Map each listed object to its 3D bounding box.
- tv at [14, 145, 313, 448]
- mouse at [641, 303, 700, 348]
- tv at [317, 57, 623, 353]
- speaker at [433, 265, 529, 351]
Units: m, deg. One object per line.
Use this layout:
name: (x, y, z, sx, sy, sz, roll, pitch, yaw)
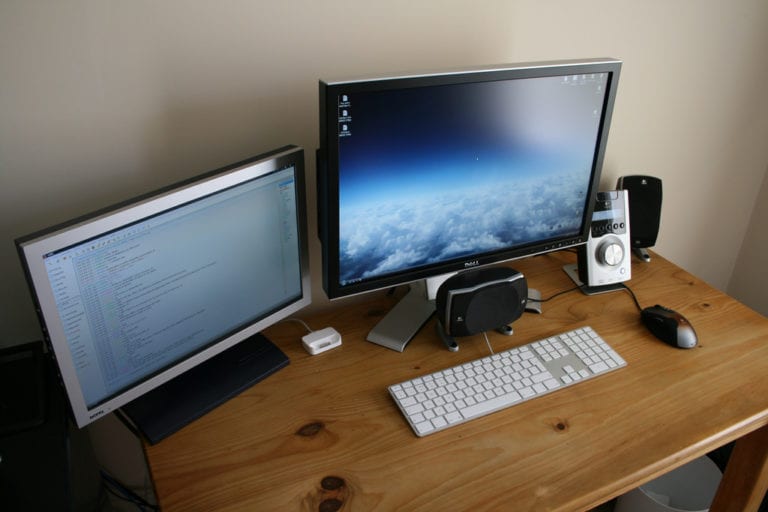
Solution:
tv: (-0.506, 0.088, 1.196, 0.607, 0.498, 0.248, -25, 42, -35)
mouse: (0.760, 0.180, 1.431, 0.081, 0.043, 0.127, -17, 30, -27)
tv: (0.200, -0.130, 1.361, 0.744, 0.618, 0.210, -13, 33, -20)
speaker: (0.248, 0.142, 1.382, 0.180, 0.149, 0.099, -12, 31, -12)
